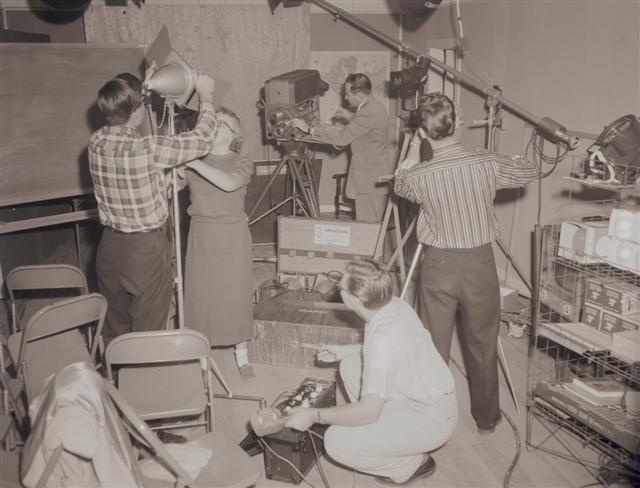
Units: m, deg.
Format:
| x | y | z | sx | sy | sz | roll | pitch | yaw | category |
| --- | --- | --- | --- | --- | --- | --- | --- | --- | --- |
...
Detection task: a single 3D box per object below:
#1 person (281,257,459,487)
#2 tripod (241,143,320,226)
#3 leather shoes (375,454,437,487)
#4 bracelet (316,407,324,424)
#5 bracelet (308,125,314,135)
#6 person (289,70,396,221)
| x | y | z | sx | sy | sz | roll | pitch | yaw | category |
| --- | --- | --- | --- | --- | --- | --- | --- | --- | --- |
| 0.375 | 0.760 | 3.184 | 0.759 | 1.296 | 0.418 | 0 | 14 | 4 | person |
| -0.231 | -0.611 | 5.704 | 0.700 | 0.733 | 0.709 | 6 | 11 | 28 | tripod |
| 0.508 | 1.325 | 3.374 | 0.403 | 0.187 | 0.140 | -1 | 17 | -16 | leather shoes |
| -0.003 | 0.924 | 3.120 | 0.028 | 0.093 | 0.059 | -8 | 16 | -26 | bracelet |
| -0.086 | -1.026 | 5.264 | 0.067 | 0.053 | 0.023 | 21 | -1 | 26 | bracelet |
| 0.224 | -1.050 | 5.982 | 1.045 | 2.100 | 0.878 | 5 | 36 | 10 | person |
